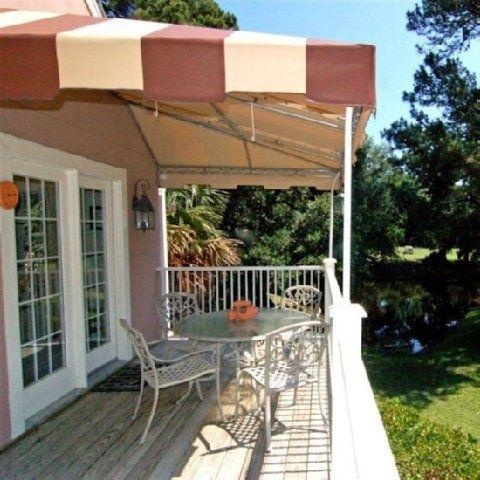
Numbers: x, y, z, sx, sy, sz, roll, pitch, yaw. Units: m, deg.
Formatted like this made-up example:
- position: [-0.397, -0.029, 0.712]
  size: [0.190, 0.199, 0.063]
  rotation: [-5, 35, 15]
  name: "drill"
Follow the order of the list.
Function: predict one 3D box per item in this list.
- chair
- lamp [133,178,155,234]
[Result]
- position: [-0.119, 0.959, 4.227]
  size: [1.435, 0.872, 2.330]
  rotation: [1, 1, -7]
  name: "chair"
- position: [-1.138, -0.415, 5.764]
  size: [0.240, 0.632, 0.608]
  rotation: [0, 1, -10]
  name: "lamp"
